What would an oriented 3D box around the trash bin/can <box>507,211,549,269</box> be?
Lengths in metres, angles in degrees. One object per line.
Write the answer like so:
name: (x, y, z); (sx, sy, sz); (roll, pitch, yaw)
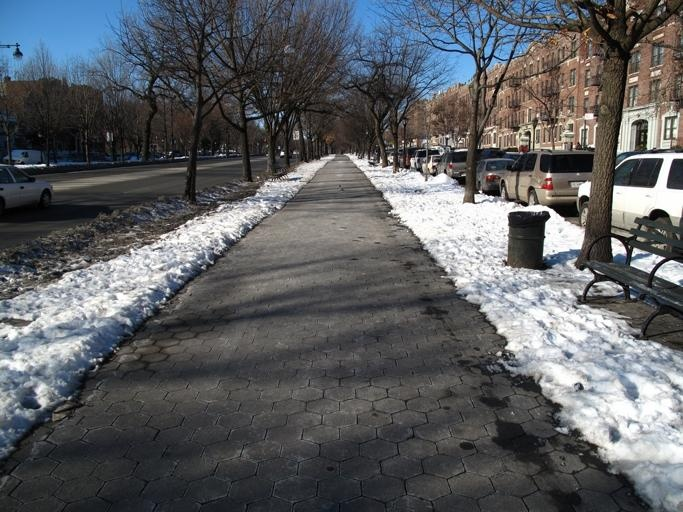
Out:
trash bin/can: (3.105, -0.292, 8.823); (0.602, 0.956, 0.671); (-6, 16, -11)
